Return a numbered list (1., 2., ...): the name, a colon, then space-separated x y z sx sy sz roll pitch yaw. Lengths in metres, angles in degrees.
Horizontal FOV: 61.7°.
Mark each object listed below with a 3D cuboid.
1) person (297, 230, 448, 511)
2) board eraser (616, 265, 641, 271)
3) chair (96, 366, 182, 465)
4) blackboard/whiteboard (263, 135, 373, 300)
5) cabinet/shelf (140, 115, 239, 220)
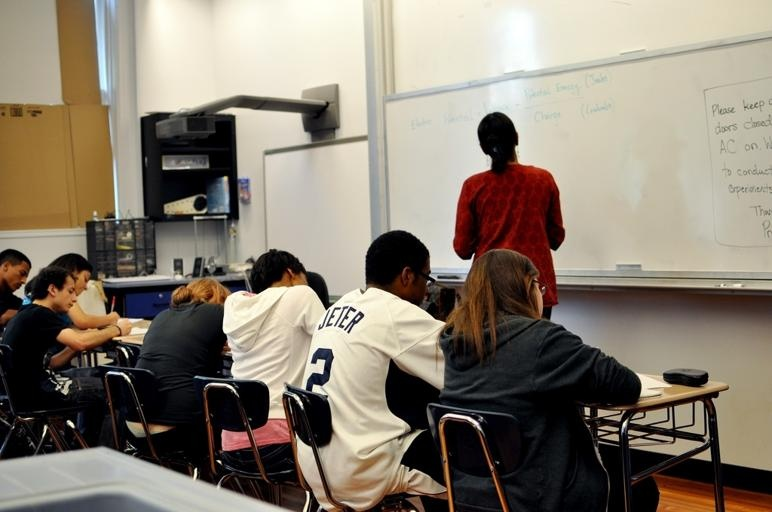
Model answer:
1. person: -0.072 0.548 2.842 0.659 1.306 0.378 -1 2 3
2. board eraser: 1.631 0.079 4.314 0.151 0.058 0.045 -1 3 22
3. chair: -1.349 0.852 3.520 0.513 0.541 0.286 0 2 34
4. blackboard/whiteboard: -0.534 -0.347 5.567 1.448 1.644 0.108 2 5 42
5. cabinet/shelf: -2.019 -0.903 7.014 0.810 0.616 1.081 -8 37 -12
